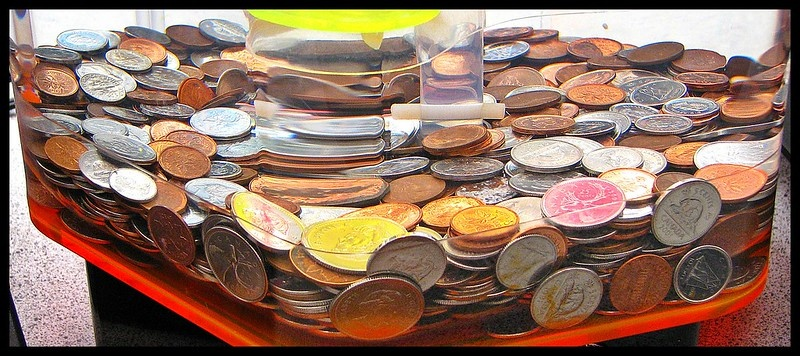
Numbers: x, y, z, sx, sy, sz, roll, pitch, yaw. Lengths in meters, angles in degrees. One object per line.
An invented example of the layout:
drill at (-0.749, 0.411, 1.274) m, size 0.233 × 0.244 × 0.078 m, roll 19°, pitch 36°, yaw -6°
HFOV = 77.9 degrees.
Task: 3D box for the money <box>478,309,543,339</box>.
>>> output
money at (0.306, 0.406, 1.392) m, size 0.138 × 0.022 × 0.109 m, roll -2°, pitch 13°, yaw 15°

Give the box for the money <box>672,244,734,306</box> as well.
money at (0.859, 0.275, 1.423) m, size 0.244 × 0.161 × 0.025 m, roll -1°, pitch 6°, yaw -23°

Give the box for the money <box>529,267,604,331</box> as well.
money at (0.472, 0.341, 1.389) m, size 0.233 × 0.025 × 0.198 m, roll -29°, pitch 27°, yaw 47°

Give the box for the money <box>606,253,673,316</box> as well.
money at (0.673, 0.300, 1.407) m, size 0.242 × 0.165 × 0.021 m, roll -3°, pitch 13°, yaw -22°

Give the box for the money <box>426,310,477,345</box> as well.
money at (0.134, 0.417, 1.374) m, size 0.149 × 0.027 × 0.101 m, roll 3°, pitch 47°, yaw 1°

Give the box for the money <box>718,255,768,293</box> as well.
money at (1.026, 0.283, 1.469) m, size 0.133 × 0.023 × 0.127 m, roll -31°, pitch 15°, yaw -32°
